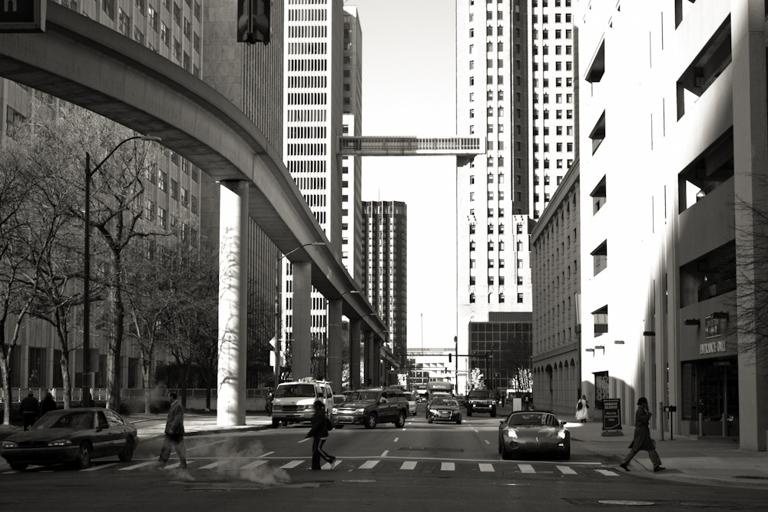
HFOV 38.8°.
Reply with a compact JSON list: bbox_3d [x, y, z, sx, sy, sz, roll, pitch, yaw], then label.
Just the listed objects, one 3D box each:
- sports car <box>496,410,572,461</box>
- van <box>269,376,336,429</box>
[{"bbox_3d":[6.503,7.923,48.400,2.699,2.229,6.187,0,-6,5],"label":"sports car"},{"bbox_3d":[-4.772,8.597,63.952,2.233,2.843,6.203,-1,-4,9],"label":"van"}]
